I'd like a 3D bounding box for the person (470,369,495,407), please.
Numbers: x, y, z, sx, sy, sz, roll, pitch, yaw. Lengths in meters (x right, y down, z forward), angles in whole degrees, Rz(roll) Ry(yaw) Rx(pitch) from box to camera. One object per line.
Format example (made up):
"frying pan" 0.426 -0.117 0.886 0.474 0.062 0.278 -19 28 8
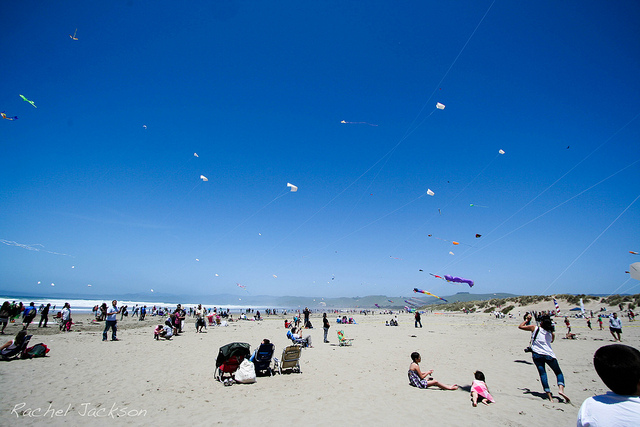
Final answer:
"person" 5.676 6.301 12.334 0.723 0.623 1.692 -8 4 24

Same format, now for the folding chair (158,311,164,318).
"folding chair" -21.638 13.506 46.655 0.734 0.655 1.245 8 0 -15

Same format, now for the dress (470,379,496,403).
"dress" 5.678 6.164 12.144 0.576 0.233 0.723 4 9 -8

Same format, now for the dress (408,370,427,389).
"dress" 3.684 6.298 13.145 0.640 0.492 0.485 -2 -9 1

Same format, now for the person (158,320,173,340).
"person" -10.210 7.448 22.289 0.999 1.025 1.860 3 -10 -15

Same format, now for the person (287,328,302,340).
"person" -1.512 6.755 19.245 0.994 0.401 1.155 5 -14 5

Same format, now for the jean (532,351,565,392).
"jean" 7.978 5.513 12.043 0.708 1.373 1.103 -13 -24 35

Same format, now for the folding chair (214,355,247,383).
"folding chair" -3.823 6.239 14.135 0.732 1.067 1.083 2 -28 46

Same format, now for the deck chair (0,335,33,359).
"deck chair" -13.385 6.001 15.355 0.781 1.274 0.586 11 -40 -8

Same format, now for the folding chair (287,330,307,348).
"folding chair" -1.350 7.014 19.260 1.513 0.807 0.748 -5 -22 28

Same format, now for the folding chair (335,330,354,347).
"folding chair" 1.490 7.686 21.292 0.767 0.864 1.892 -1 -19 4

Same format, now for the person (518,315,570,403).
"person" 8.011 5.167 12.284 0.999 2.764 1.610 -12 -23 32

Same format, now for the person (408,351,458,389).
"person" 4.352 6.110 13.367 1.799 1.148 0.811 4 -19 2

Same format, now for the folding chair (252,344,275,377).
"folding chair" -2.392 6.248 14.420 0.983 1.311 1.064 8 -34 -17

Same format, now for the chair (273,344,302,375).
"chair" -1.400 6.291 15.136 1.046 1.032 1.579 4 -17 -18
